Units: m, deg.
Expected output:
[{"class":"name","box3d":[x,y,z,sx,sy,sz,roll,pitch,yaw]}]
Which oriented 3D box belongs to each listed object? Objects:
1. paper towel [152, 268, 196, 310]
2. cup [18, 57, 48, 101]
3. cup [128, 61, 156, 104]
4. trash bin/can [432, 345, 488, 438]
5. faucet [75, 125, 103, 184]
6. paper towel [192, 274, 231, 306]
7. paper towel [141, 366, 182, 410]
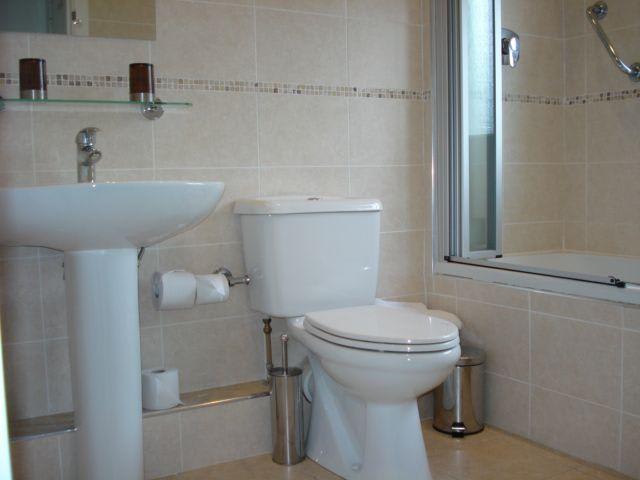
[{"class":"paper towel","box3d":[-0.552,0.196,2.190,0.146,0.153,0.127,5,-13,-36]},{"class":"cup","box3d":[-1.038,-0.589,2.100,0.110,0.152,0.082,-9,10,-42]},{"class":"cup","box3d":[-0.681,-0.598,2.201,0.094,0.150,0.078,-5,7,-19]},{"class":"trash bin/can","box3d":[0.646,0.676,2.587,0.209,0.339,0.228,1,3,-8]},{"class":"faucet","box3d":[-0.832,-0.305,2.064,0.083,0.191,0.135,-5,8,-23]},{"class":"paper towel","box3d":[-0.427,0.191,2.271,0.143,0.111,0.069,-5,8,-22]},{"class":"paper towel","box3d":[-0.624,0.593,2.289,0.085,0.162,0.159,-8,-9,33]}]
